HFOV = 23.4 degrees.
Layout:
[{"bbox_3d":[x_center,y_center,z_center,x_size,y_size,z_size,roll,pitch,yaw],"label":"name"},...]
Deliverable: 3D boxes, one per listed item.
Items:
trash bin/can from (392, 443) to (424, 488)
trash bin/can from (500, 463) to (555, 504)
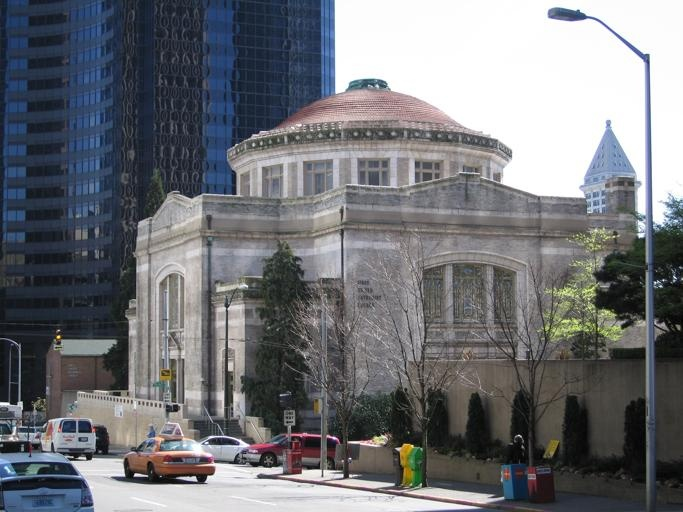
[{"bbox_3d":[4.230,13.406,104.316,1.926,2.724,0.859,-4,-10,14],"label":"trash bin/can"},{"bbox_3d":[11.210,13.969,100.288,2.720,2.224,3.095,0,-8,-1],"label":"trash bin/can"}]
